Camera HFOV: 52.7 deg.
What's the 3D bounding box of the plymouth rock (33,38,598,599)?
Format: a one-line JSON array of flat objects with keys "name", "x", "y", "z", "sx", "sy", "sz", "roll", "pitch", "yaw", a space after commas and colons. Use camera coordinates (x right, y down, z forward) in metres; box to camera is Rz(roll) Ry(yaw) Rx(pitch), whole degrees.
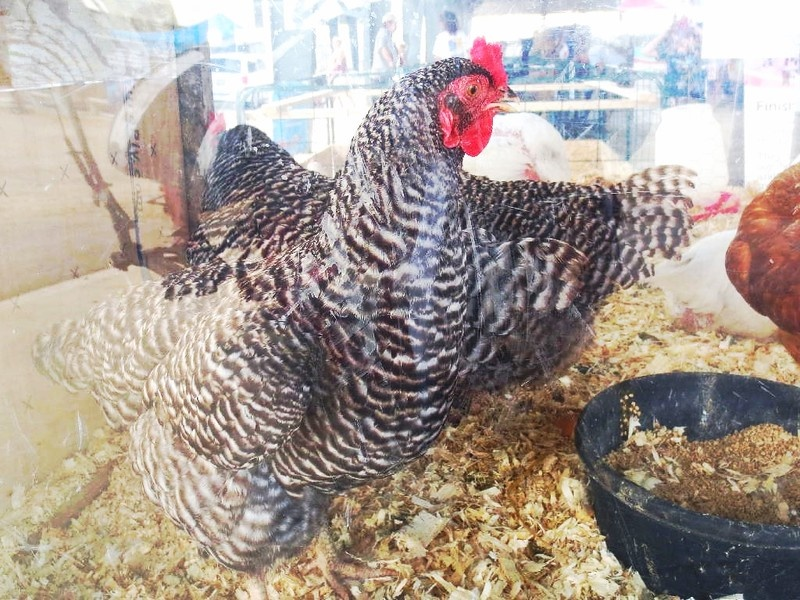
[{"name": "plymouth rock", "x": 0.071, "y": -0.066, "z": 2.663, "sx": 1.843, "sy": 1.302, "sz": 0.764, "roll": -4, "pitch": 8, "yaw": 19}]
